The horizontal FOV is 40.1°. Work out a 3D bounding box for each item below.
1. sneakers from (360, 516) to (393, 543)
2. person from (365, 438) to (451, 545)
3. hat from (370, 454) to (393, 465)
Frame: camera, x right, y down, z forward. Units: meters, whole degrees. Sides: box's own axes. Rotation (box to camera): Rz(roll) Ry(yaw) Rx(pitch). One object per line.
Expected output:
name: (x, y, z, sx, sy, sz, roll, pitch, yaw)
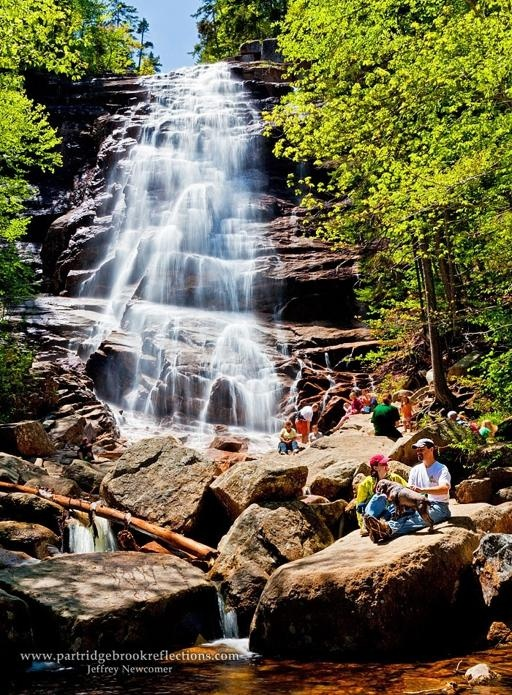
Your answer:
sneakers: (1.487, 2.141, 8.548, 0.229, 0.374, 0.183, -30, -16, 33)
person: (1.822, 1.752, 8.938, 1.241, 1.314, 1.419, -6, -6, 18)
hat: (1.582, 1.433, 8.838, 0.217, 0.110, 0.148, -21, -7, 13)
